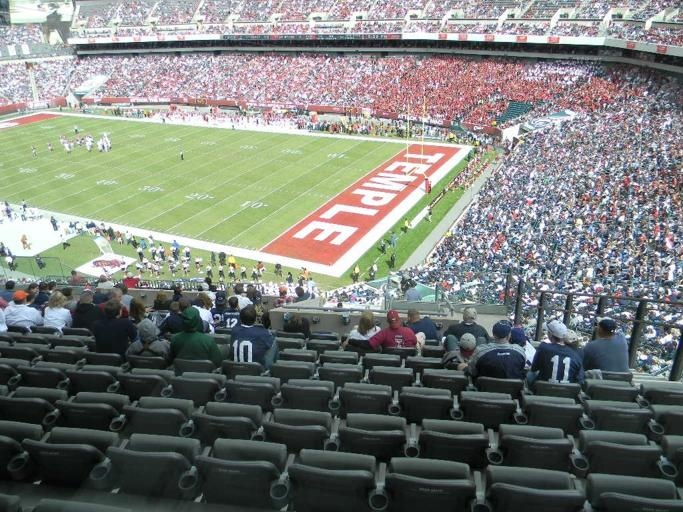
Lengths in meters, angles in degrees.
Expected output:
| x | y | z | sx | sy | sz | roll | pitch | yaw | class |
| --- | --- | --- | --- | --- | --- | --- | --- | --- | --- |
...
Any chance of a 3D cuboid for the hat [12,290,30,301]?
| x | y | z | sx | sy | sz | roll | pitch | yaw | class |
| --- | --- | --- | --- | --- | --- | --- | --- | --- | --- |
| -6.236 | 0.742 | 12.502 | 0.235 | 0.125 | 0.272 | 6 | 25 | -10 | hat |
